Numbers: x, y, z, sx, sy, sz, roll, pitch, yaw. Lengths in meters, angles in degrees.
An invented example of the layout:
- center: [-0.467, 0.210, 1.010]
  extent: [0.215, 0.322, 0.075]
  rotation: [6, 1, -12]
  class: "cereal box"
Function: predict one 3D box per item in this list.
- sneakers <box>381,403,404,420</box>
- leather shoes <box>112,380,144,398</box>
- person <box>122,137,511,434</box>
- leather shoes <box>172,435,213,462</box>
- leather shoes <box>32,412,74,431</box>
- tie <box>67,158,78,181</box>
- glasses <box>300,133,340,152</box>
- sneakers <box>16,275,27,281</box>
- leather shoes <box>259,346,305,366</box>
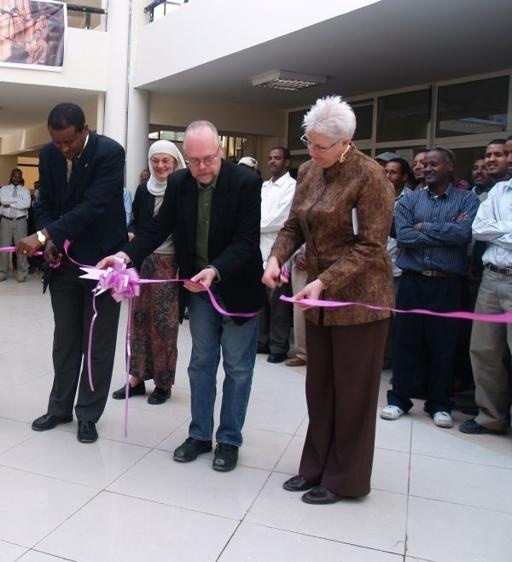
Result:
- center: [0.784, 0.757, 2.952]
  extent: [0.165, 0.054, 0.055]
  rotation: [3, 12, 22]
  class: "sneakers"
- center: [-0.766, 0.669, 3.193]
  extent: [0.098, 0.089, 0.263]
  rotation: [-5, -6, 40]
  class: "leather shoes"
- center: [0.220, 0.054, 1.910]
  extent: [1.168, 1.127, 0.527]
  rotation: [6, 4, 31]
  class: "person"
- center: [-0.283, 0.757, 2.310]
  extent: [0.071, 0.073, 0.189]
  rotation: [-4, -5, 36]
  class: "leather shoes"
- center: [-1.032, 0.706, 2.601]
  extent: [0.075, 0.074, 0.205]
  rotation: [3, -2, 41]
  class: "leather shoes"
- center: [-0.871, -0.520, 2.396]
  extent: [0.076, 0.089, 0.038]
  rotation: [4, -4, 45]
  class: "tie"
- center: [0.214, -0.471, 1.736]
  extent: [0.128, 0.063, 0.042]
  rotation: [5, 4, 34]
  class: "glasses"
- center: [-3.969, -0.043, 8.638]
  extent: [0.147, 0.090, 0.246]
  rotation: [0, 6, -32]
  class: "sneakers"
- center: [0.261, 0.641, 4.197]
  extent: [0.408, 0.145, 0.128]
  rotation: [19, -11, -20]
  class: "leather shoes"
